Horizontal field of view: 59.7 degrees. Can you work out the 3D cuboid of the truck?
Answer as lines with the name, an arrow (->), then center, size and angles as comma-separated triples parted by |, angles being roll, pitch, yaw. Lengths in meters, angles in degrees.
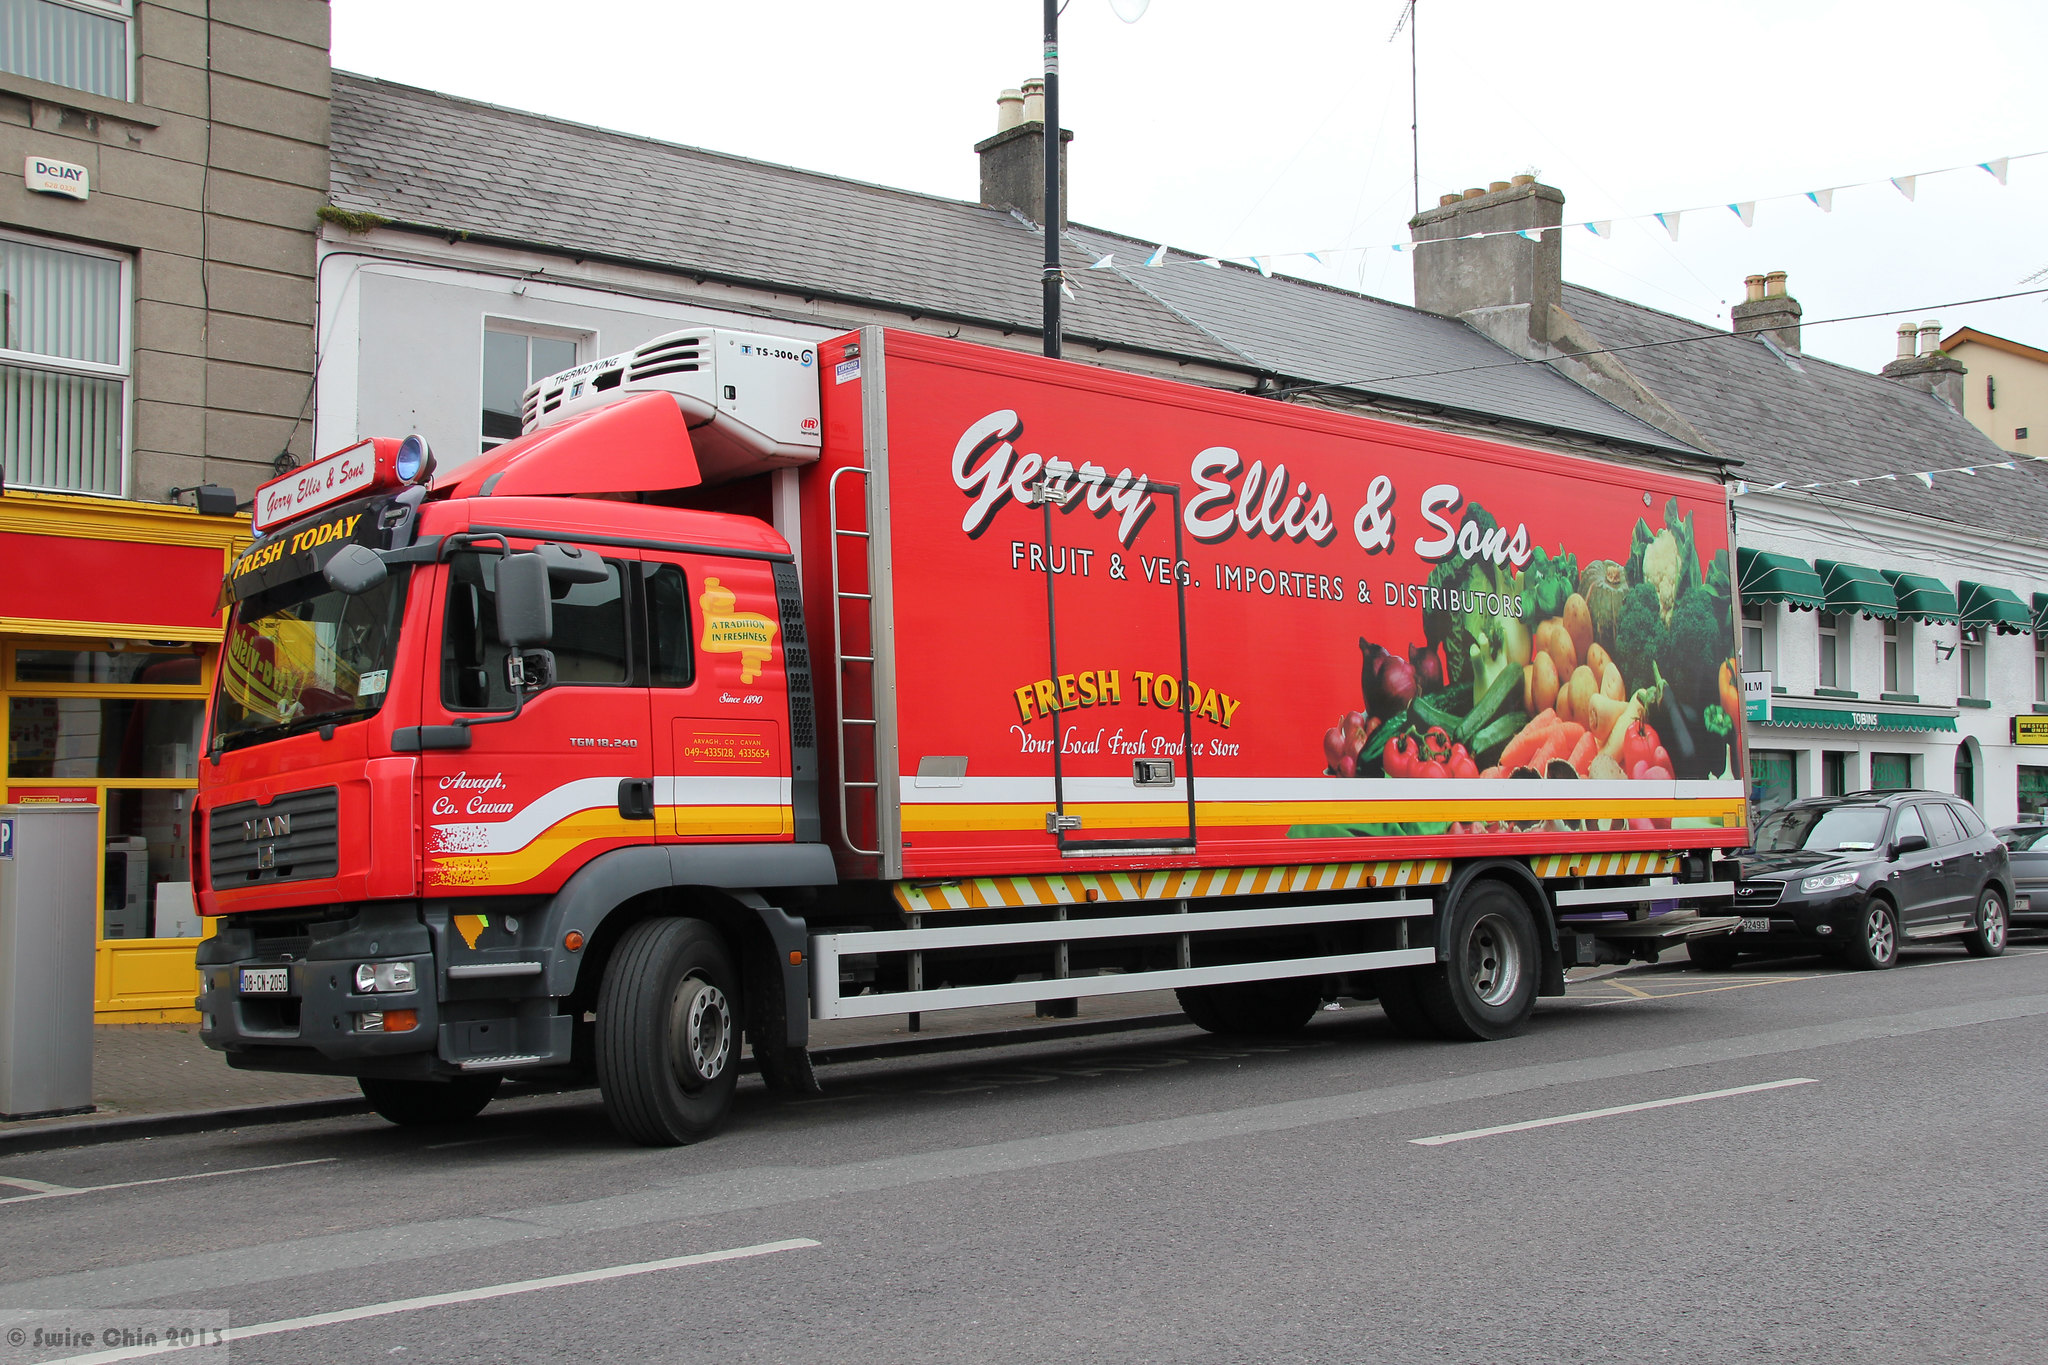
truck -> 0.588, 0.658, 15.032 | 12.619, 5.310, 4.949 | 3, -7, -34

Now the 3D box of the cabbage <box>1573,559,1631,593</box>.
cabbage -> 5.112, -0.928, 15.824 | 0.363, 0.388, 0.292 | -3, 3, 22

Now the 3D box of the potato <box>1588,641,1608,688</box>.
potato -> 5.008, -0.137, 15.674 | 0.168, 0.369, 0.195 | -3, 2, -9

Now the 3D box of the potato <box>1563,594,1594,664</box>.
potato -> 4.826, -0.481, 15.630 | 0.258, 0.603, 0.268 | -14, -3, 2
